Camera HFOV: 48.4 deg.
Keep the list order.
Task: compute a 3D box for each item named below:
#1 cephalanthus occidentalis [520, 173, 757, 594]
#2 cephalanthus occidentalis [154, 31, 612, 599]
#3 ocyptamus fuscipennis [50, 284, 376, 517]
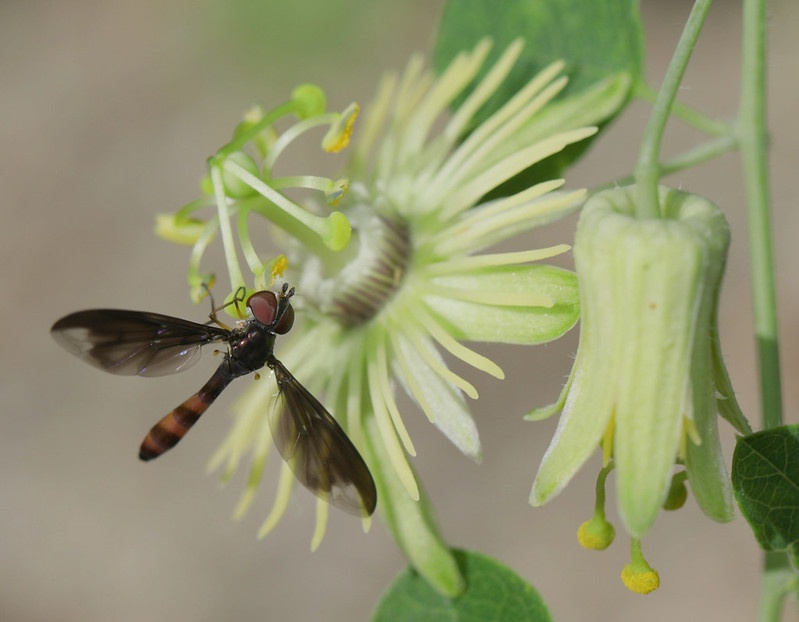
[{"bbox_3d":[0.183,0.048,0.697,0.161,0.145,0.306,19,-68,47],"label":"cephalanthus occidentalis"},{"bbox_3d":[0.026,-0.013,0.843,0.454,0.478,0.150,-35,-30,32],"label":"cephalanthus occidentalis"},{"bbox_3d":[-0.158,0.080,0.914,0.316,0.105,0.213,36,-78,-3],"label":"ocyptamus fuscipennis"}]
